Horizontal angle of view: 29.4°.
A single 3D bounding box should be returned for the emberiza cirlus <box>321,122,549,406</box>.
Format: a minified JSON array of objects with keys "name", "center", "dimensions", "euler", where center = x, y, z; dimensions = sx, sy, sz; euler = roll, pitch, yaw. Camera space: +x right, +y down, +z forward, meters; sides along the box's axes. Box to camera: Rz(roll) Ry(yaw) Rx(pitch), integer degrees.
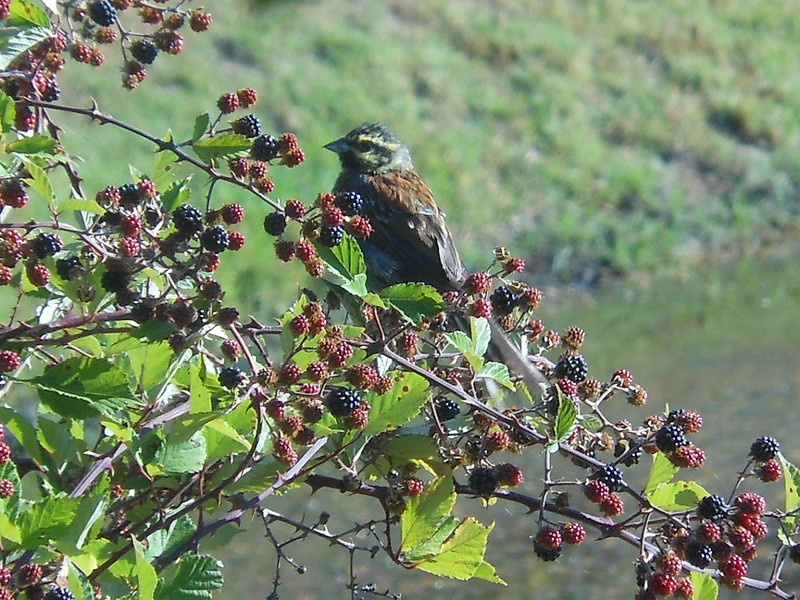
[{"name":"emberiza cirlus","center":[0.096,-0.242,6.121],"dimensions":[1.077,0.673,0.337],"euler":[22,10,9]}]
